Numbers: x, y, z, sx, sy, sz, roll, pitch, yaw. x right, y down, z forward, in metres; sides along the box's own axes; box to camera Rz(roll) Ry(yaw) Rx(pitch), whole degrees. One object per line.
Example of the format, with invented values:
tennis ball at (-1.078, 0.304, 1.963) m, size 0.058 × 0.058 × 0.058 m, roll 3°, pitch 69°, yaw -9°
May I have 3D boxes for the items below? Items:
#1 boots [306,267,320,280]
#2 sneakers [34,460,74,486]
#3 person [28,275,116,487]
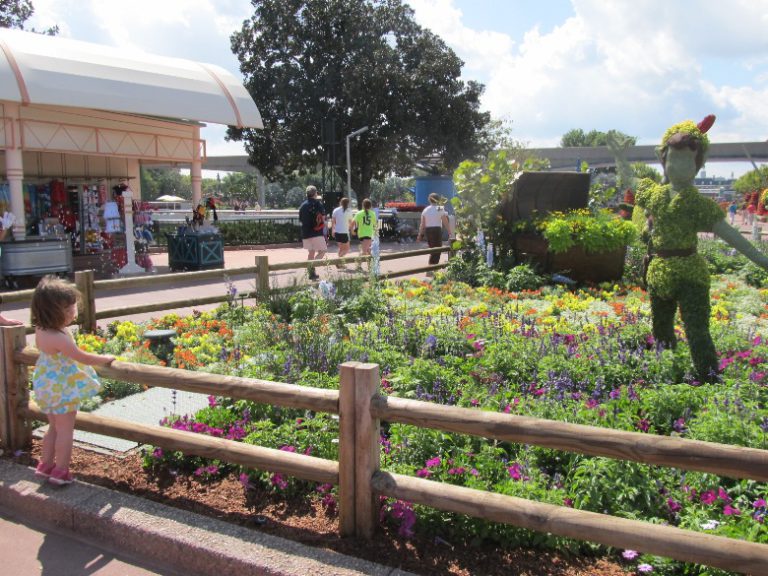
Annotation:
boots at (-1.390, -0.273, 13.512) m, size 0.176 × 0.240 × 0.489 m, roll -7°, pitch 9°, yaw 1°
sneakers at (-2.594, 1.445, 5.416) m, size 0.301 × 0.148 × 0.138 m, roll 21°, pitch 13°, yaw 31°
person at (-2.500, 0.734, 5.406) m, size 0.496 × 1.592 × 0.319 m, roll -4°, pitch 7°, yaw -27°
